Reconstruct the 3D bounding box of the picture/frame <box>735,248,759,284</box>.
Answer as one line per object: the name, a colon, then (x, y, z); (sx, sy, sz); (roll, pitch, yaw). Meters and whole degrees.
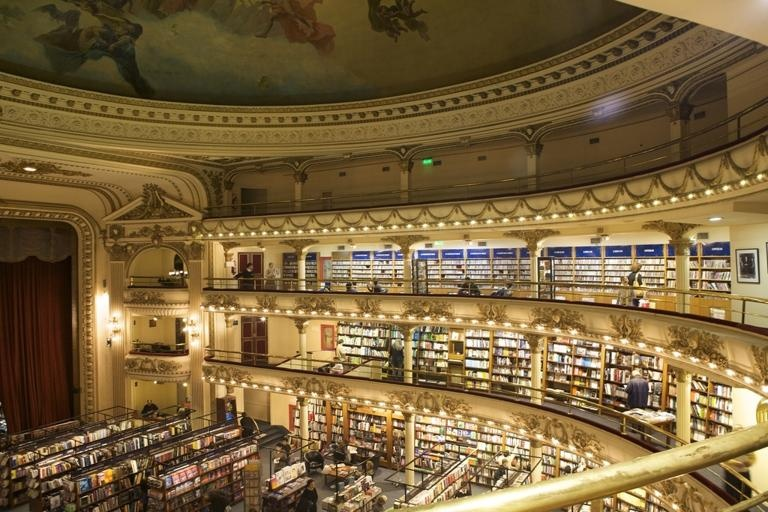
picture/frame: (11.491, 0.315, 16.765); (0.132, 1.109, 0.774); (-1, -3, -20)
